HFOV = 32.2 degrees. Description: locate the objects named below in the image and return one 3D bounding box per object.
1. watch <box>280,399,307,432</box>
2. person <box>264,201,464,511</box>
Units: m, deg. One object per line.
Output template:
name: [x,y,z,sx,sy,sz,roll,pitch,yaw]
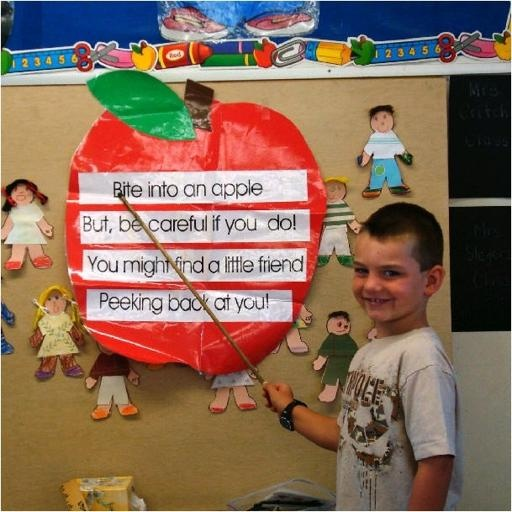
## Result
watch: [0.091,0.423,2.324,0.038,0.067,0.063,-2,19,34]
person: [0.265,0.246,2.144,0.450,0.733,0.306,0,6,10]
